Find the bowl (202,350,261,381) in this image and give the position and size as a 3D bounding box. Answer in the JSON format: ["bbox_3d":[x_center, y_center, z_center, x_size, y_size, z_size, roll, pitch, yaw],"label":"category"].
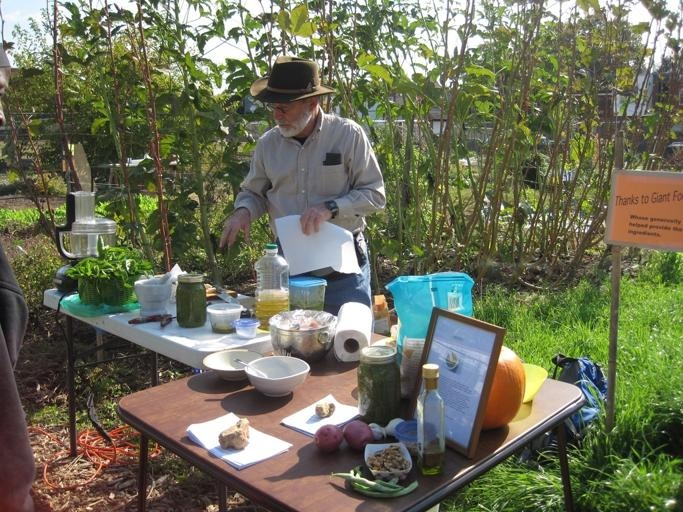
[{"bbox_3d":[-0.454,0.414,2.339,0.232,0.124,0.287,-1,11,-14],"label":"bowl"}]

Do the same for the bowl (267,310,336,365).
[{"bbox_3d":[-0.175,0.387,2.474,0.319,0.199,0.340,1,3,0],"label":"bowl"}]

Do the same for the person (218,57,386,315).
[{"bbox_3d":[-0.225,-0.553,3.530,0.673,1.837,0.886,1,3,17],"label":"person"}]

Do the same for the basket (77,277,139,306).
[{"bbox_3d":[-1.243,0.157,2.958,0.252,0.153,0.250,10,10,36],"label":"basket"}]

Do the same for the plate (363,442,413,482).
[{"bbox_3d":[0.142,0.638,1.706,0.117,0.100,0.198,0,12,-11],"label":"plate"}]

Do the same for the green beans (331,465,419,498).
[{"bbox_3d":[0.093,0.687,1.662,0.266,0.049,0.078,4,6,12],"label":"green beans"}]

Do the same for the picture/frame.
[{"bbox_3d":[0.376,0.436,1.849,0.410,0.600,0.039,16,2,41],"label":"picture/frame"}]

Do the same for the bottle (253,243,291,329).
[{"bbox_3d":[-0.353,0.149,2.746,0.174,0.414,0.182,0,6,0],"label":"bottle"}]

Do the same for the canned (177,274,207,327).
[{"bbox_3d":[-0.749,0.211,2.721,0.142,0.255,0.145,11,14,29],"label":"canned"}]

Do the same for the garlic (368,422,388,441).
[{"bbox_3d":[0.119,0.592,1.854,0.040,0.029,0.052,-10,29,-38],"label":"garlic"}]

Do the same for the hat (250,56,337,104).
[{"bbox_3d":[-0.297,-1.044,3.262,0.351,0.168,0.408,27,37,35],"label":"hat"}]

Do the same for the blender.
[{"bbox_3d":[-1.552,-0.145,3.223,0.299,0.709,0.326,15,22,38],"label":"blender"}]

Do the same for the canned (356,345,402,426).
[{"bbox_3d":[0.135,0.463,1.989,0.152,0.252,0.159,-2,11,-2],"label":"canned"}]

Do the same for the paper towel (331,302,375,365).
[{"bbox_3d":[0.055,0.318,2.458,0.169,0.239,0.208,10,13,12],"label":"paper towel"}]

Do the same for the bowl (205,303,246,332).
[{"bbox_3d":[-0.574,0.293,2.663,0.129,0.094,0.138,1,-4,0],"label":"bowl"}]
